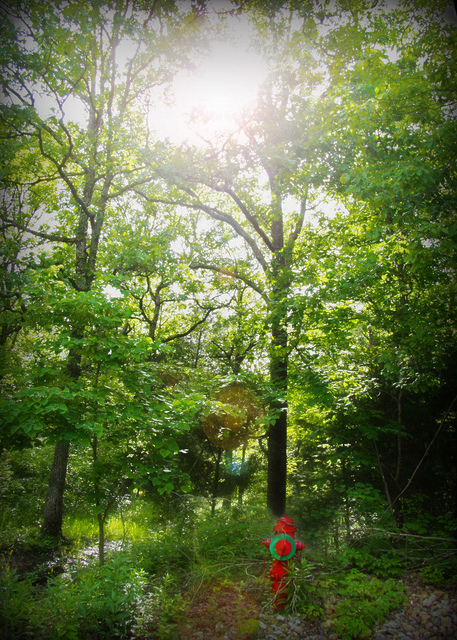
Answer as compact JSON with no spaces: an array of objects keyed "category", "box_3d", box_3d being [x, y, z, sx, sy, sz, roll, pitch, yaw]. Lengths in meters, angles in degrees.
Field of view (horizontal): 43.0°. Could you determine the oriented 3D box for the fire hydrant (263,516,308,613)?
[{"category":"fire hydrant","box_3d":[0.704,3.291,7.880,0.569,1.010,0.775,2,10,14]}]
